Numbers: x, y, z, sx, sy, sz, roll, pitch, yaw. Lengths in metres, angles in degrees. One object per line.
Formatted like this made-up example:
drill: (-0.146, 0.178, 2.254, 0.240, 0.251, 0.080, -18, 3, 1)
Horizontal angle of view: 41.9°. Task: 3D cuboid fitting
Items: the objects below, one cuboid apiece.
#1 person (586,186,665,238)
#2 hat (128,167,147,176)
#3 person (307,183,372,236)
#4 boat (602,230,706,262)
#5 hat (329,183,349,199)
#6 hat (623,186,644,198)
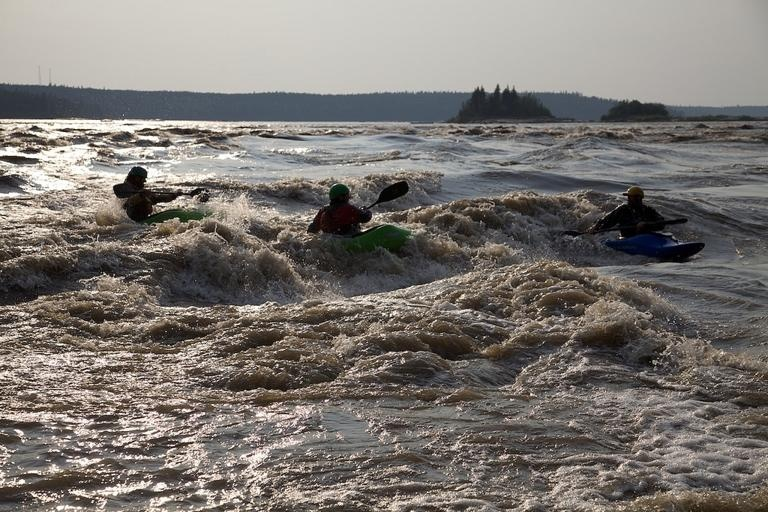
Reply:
person: (4.909, -0.749, 20.175, 1.225, 0.563, 1.523, 6, 4, 23)
hat: (-4.694, -1.617, 19.245, 0.285, 0.177, 0.191, -13, 24, -22)
person: (-0.853, -0.885, 19.886, 1.281, 1.469, 0.669, 12, 28, 23)
boat: (5.242, -0.172, 19.321, 2.008, 0.393, 0.570, 7, 33, 37)
hat: (-0.799, -1.189, 18.076, 0.309, 0.347, 0.348, 1, -18, -7)
hat: (5.019, -1.263, 20.093, 0.566, 0.206, 0.358, 1, 4, 9)
